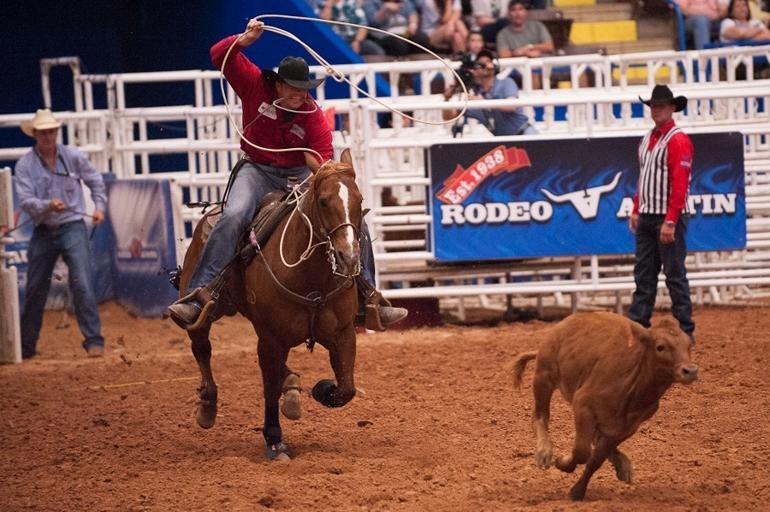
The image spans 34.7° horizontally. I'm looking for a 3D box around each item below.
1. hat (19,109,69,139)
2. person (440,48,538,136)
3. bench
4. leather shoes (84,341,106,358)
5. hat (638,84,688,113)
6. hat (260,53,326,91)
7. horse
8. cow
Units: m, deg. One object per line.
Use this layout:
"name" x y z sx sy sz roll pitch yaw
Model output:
"hat" -4.999 -1.926 17.883 0.446 0.215 0.520 -5 -5 -11
"person" 1.548 -2.307 19.384 1.234 1.707 1.107 -16 10 5
"bench" 2.203 -3.611 21.763 5.023 2.600 1.486 0 -22 1
"leather shoes" -4.249 1.383 18.004 0.186 0.203 0.485 1 -9 -18
"hat" 3.724 -2.104 16.321 0.495 0.344 0.394 0 8 2
"hat" -1.051 -2.214 15.013 0.521 0.234 0.577 7 7 18
"horse" -1.038 0.569 14.644 1.864 3.678 1.003 2 9 19
"cow" 2.436 1.693 14.144 1.106 2.168 3.196 3 1 -28
